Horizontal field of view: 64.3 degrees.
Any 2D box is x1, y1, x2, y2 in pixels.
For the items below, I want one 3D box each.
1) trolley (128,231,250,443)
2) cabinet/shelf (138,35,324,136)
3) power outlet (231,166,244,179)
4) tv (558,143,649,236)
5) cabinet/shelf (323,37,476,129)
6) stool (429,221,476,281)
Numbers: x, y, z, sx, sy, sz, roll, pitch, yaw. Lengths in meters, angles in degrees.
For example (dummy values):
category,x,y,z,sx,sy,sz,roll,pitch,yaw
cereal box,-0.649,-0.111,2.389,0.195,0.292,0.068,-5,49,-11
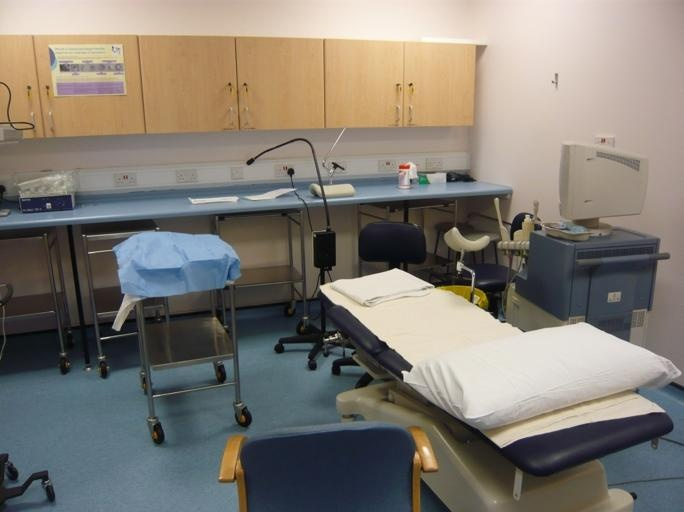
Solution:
category,x,y,z,sx,sy,sz,roll,pitch,yaw
trolley,-0.890,0.449,3.044,0.690,1.003,0.771,-6,5,-7
cabinet/shelf,-0.864,-1.295,4.042,0.695,0.694,0.241,-3,14,-13
power outlet,-0.848,-0.675,4.416,0.099,0.100,0.024,0,4,-18
tv,1.344,-0.376,2.853,0.432,0.481,0.273,-3,14,-1
cabinet/shelf,0.459,-1.433,4.635,1.321,0.696,0.434,-4,13,-15
stool,0.846,-0.050,4.234,0.352,0.576,0.349,-4,18,-12
